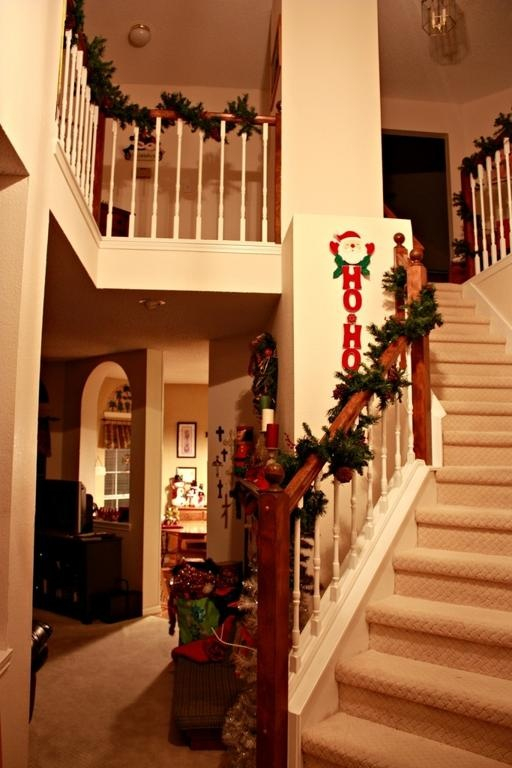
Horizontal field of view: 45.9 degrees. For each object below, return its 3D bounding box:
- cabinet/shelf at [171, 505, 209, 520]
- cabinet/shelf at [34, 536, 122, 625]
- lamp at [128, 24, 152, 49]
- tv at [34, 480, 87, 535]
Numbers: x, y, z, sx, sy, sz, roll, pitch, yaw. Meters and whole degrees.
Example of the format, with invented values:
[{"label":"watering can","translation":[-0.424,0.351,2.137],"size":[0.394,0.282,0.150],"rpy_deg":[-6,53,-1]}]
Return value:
[{"label":"cabinet/shelf","translation":[-1.036,2.016,9.449],"size":[0.357,0.186,0.535],"rpy_deg":[2,-2,-16]},{"label":"cabinet/shelf","translation":[-1.754,1.884,5.959],"size":[1.045,0.785,0.473],"rpy_deg":[-1,-8,21]},{"label":"lamp","translation":[-1.167,-3.461,6.051],"size":[0.175,0.195,0.211],"rpy_deg":[13,-34,-12]},{"label":"tv","translation":[-1.979,1.258,6.156],"size":[0.182,0.544,0.825],"rpy_deg":[8,-10,-44]}]
